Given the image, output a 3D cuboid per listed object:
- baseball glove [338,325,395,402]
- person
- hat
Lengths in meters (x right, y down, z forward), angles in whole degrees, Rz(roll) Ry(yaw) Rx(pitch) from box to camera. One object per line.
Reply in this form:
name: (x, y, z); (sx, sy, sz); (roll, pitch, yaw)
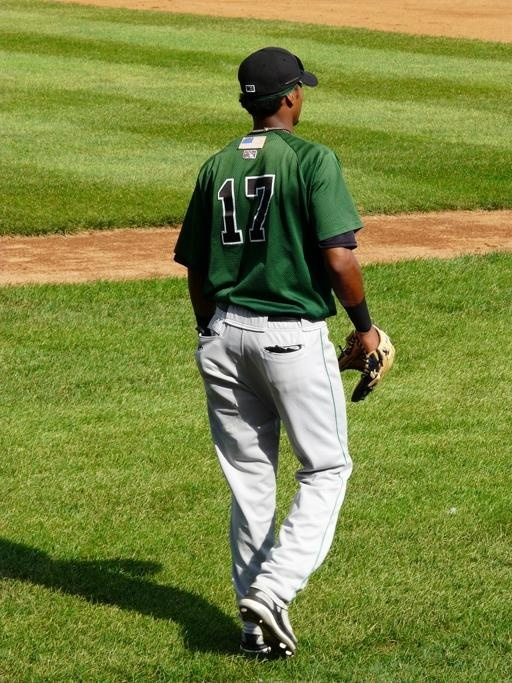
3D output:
baseball glove: (0.469, 0.126, 5.498); (0.246, 0.217, 0.487); (-20, 12, 18)
person: (0.176, 0.055, 5.115); (0.826, 2.517, 0.875); (0, 11, -15)
hat: (0.082, -1.173, 5.225); (0.253, 0.200, 0.357); (10, 28, 38)
